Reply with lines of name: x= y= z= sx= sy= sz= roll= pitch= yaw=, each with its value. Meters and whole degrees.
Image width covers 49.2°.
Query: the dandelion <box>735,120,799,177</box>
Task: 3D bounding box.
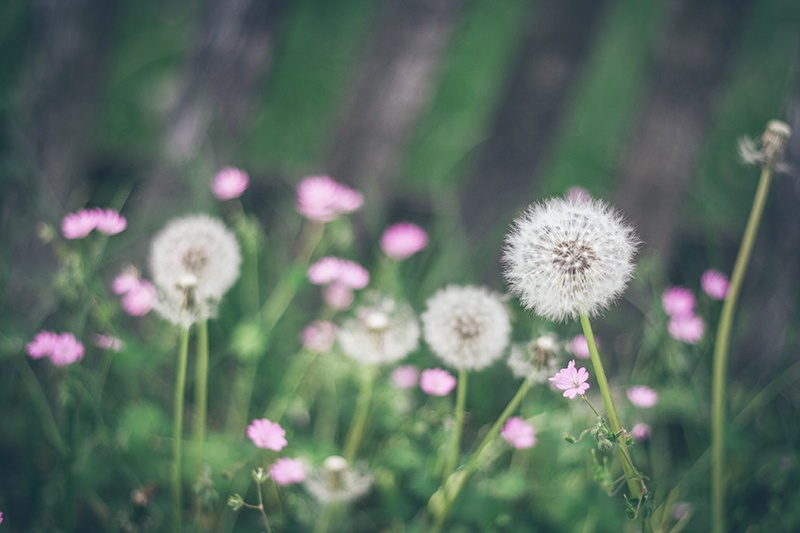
dandelion: x=0.384 y=-0.129 z=0.925 sx=0.050 sy=0.047 sz=0.013 roll=8 pitch=-10 yaw=5

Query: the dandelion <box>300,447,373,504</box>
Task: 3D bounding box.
dandelion: x=-0.066 y=0.235 z=0.945 sx=0.074 sy=0.053 sz=0.017 roll=12 pitch=-10 yaw=-8
